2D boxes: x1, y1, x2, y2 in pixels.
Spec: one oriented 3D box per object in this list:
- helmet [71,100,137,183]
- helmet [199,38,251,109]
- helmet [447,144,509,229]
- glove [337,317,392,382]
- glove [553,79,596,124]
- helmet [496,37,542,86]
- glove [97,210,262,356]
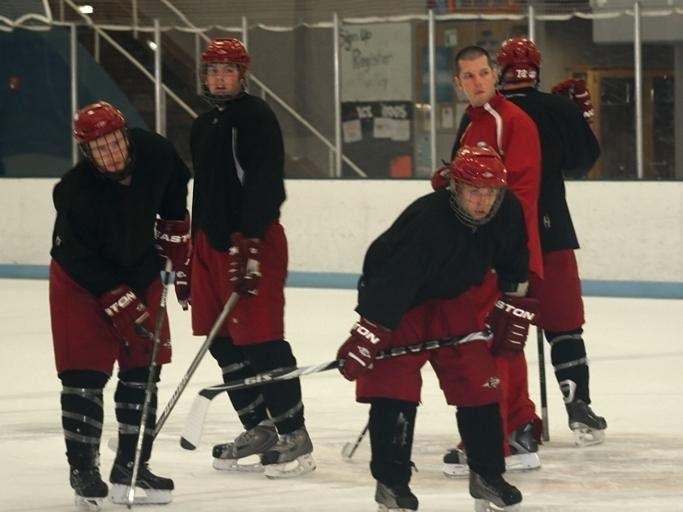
[{"bbox_3d":[-1.244,-0.634,8.421,0.289,0.375,0.397,-25,11,-4],"label":"helmet"},{"bbox_3d":[-0.663,-1.001,8.678,0.274,0.315,0.344,6,-9,-11],"label":"helmet"},{"bbox_3d":[0.679,-0.398,8.235,0.323,0.380,0.393,6,22,-11],"label":"helmet"},{"bbox_3d":[0.090,0.473,8.188,0.218,0.356,0.105,40,3,1],"label":"glove"},{"bbox_3d":[1.360,-0.936,9.325,0.258,0.280,0.133,-9,-3,41],"label":"glove"},{"bbox_3d":[1.012,-1.086,9.185,0.298,0.329,0.344,-5,2,6],"label":"helmet"},{"bbox_3d":[-0.970,0.158,8.377,0.785,0.733,0.302,-16,4,-17],"label":"glove"}]
